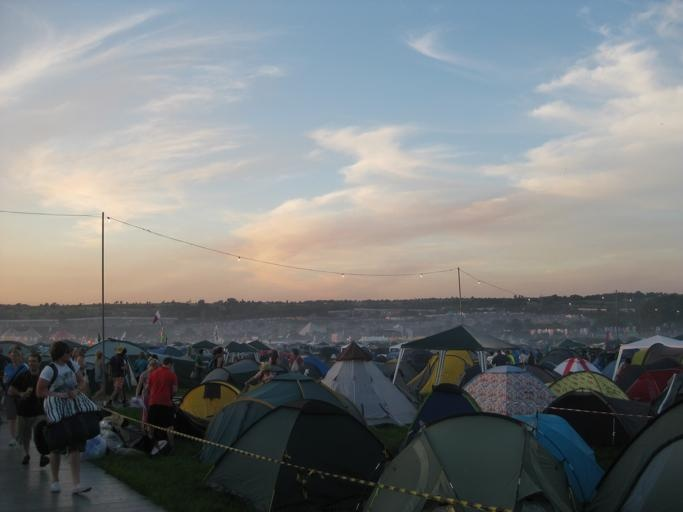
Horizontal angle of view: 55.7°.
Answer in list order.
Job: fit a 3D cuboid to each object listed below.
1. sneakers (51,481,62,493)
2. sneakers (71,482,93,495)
[{"bbox_3d":[-5.493,4.458,12.465,0.110,0.100,0.249,3,-4,-14],"label":"sneakers"},{"bbox_3d":[-4.955,4.473,12.462,0.502,0.200,0.182,-16,-16,34],"label":"sneakers"}]
